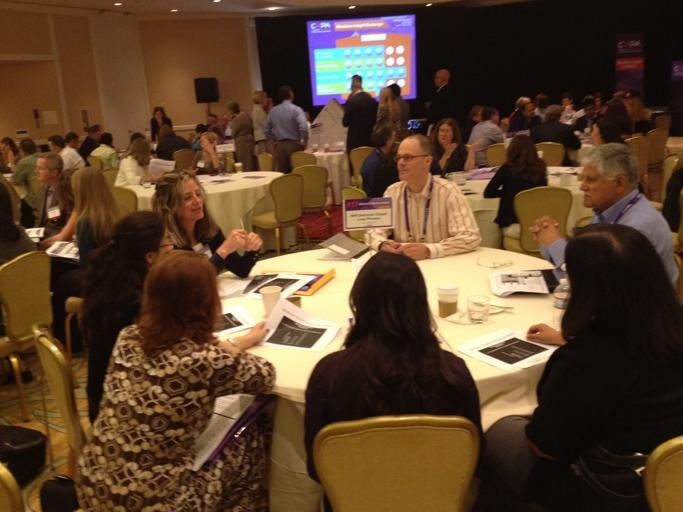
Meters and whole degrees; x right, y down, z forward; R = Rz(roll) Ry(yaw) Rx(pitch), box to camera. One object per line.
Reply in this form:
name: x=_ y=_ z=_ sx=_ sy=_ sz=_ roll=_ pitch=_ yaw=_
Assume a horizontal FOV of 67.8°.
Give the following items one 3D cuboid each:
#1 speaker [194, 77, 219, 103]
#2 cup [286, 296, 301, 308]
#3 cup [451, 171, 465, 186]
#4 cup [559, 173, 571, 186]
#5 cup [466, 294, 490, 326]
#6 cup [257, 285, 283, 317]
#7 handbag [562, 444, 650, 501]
speaker: x=-3.234 y=-3.953 z=12.306 sx=0.603 sy=0.602 sz=0.594 roll=0 pitch=10 yaw=0
cup: x=-0.213 y=0.206 z=2.304 sx=0.050 sy=0.037 sz=0.050 roll=-1 pitch=8 yaw=0
cup: x=1.060 y=-0.710 z=4.672 sx=0.182 sy=0.115 sz=0.183 roll=-1 pitch=9 yaw=0
cup: x=1.963 y=-0.676 z=4.487 sx=0.102 sy=0.142 sz=0.098 roll=-4 pitch=17 yaw=1
cup: x=0.565 y=0.227 z=2.122 sx=0.087 sy=0.093 sz=0.107 roll=0 pitch=7 yaw=10
cup: x=-0.315 y=0.191 z=2.241 sx=0.102 sy=0.124 sz=0.122 roll=5 pitch=18 yaw=6
handbag: x=0.781 y=0.635 z=1.489 sx=0.192 sy=0.063 sz=0.131 roll=-17 pitch=26 yaw=-5
